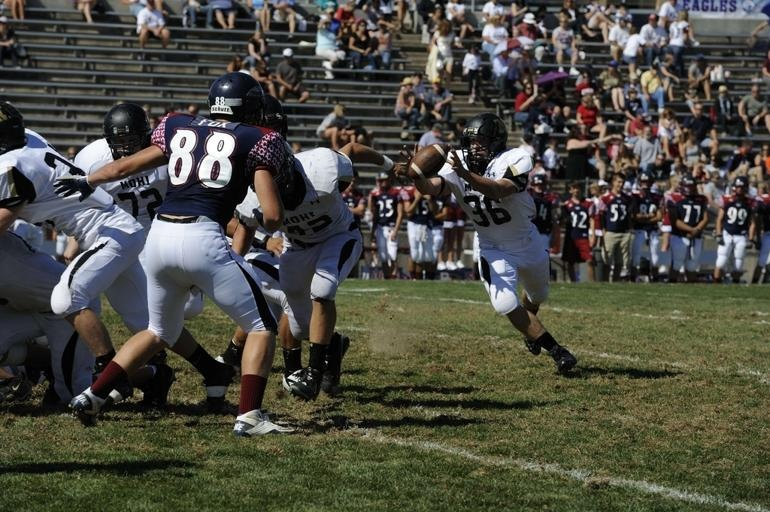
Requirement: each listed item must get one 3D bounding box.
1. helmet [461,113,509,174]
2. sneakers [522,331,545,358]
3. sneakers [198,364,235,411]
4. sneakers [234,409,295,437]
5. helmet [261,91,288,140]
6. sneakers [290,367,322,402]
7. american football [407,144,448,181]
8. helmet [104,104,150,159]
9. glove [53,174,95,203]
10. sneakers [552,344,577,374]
[{"bbox_3d":[1.136,-1.363,15.031,0.553,0.539,0.461,10,7,-30],"label":"helmet"},{"bbox_3d":[1.669,1.003,15.119,0.150,0.115,0.350,-6,30,-46],"label":"sneakers"},{"bbox_3d":[-1.745,1.364,13.796,0.210,0.556,0.262,3,11,-16],"label":"sneakers"},{"bbox_3d":[-1.195,1.649,13.250,0.603,0.268,0.277,-8,17,-31],"label":"sneakers"},{"bbox_3d":[-1.162,-1.502,13.944,0.229,0.463,0.662,-1,15,-5],"label":"helmet"},{"bbox_3d":[-0.871,1.336,13.859,0.143,0.172,0.392,-14,-1,11],"label":"sneakers"},{"bbox_3d":[0.493,-1.071,14.603,0.448,0.282,0.268,-33,40,-15],"label":"american football"},{"bbox_3d":[-2.825,-1.397,14.226,0.486,0.583,0.584,-4,26,-6],"label":"helmet"},{"bbox_3d":[-3.174,-0.696,13.472,0.418,0.266,0.178,6,16,17],"label":"glove"},{"bbox_3d":[2.000,1.127,14.745,0.205,0.196,0.403,-17,42,-21],"label":"sneakers"}]
